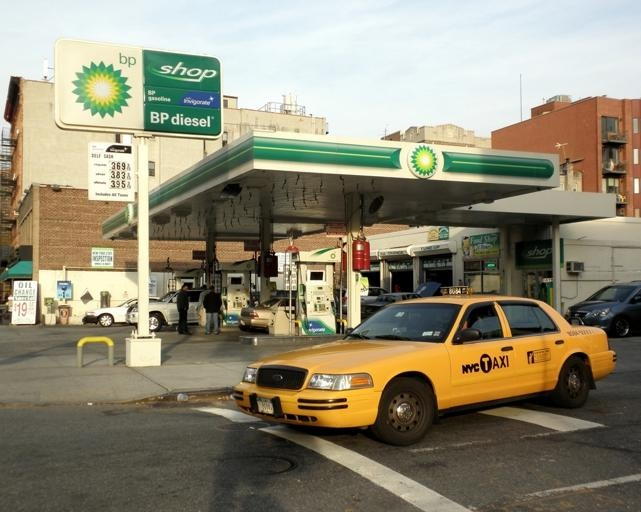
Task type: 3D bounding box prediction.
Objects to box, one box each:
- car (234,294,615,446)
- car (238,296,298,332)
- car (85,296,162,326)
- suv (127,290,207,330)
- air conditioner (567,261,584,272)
[{"bbox_3d":[1.484,1.550,9.528,4.375,1.377,2.104,2,-6,-32],"label":"car"},{"bbox_3d":[-2.153,2.171,25.173,2.596,0.867,1.093,-3,-1,-33],"label":"car"},{"bbox_3d":[-9.411,2.671,32.843,4.030,1.396,1.729,2,-4,-15],"label":"car"},{"bbox_3d":[-6.651,2.368,29.372,3.213,1.452,1.780,2,-5,-26],"label":"suv"},{"bbox_3d":[11.803,0.511,31.241,0.848,0.602,0.439,2,2,-17],"label":"air conditioner"}]
